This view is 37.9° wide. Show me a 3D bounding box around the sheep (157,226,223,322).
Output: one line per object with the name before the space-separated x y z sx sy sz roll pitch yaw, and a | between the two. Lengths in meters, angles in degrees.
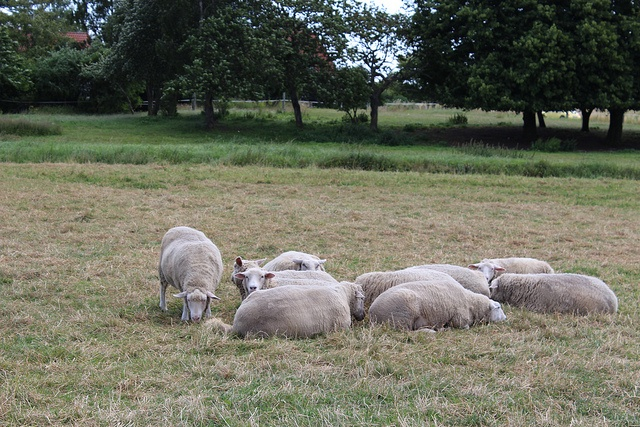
sheep | -4.215 1.912 29.813 2.190 2.654 1.666 8 11 38

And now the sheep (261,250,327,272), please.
sheep | -0.783 1.580 30.845 1.504 0.780 0.827 3 5 29

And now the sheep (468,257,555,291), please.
sheep | 6.554 2.029 31.194 3.160 1.515 1.036 3 -5 -1
